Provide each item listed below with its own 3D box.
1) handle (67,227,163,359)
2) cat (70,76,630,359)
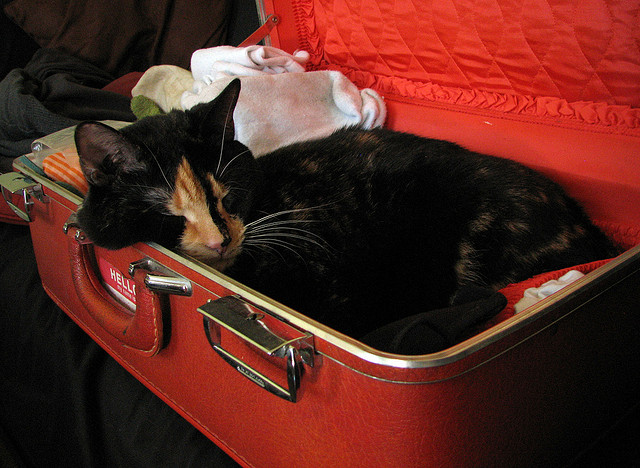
[{"bbox_3d":[-0.335,0.150,1.122,0.153,0.247,0.217,-15,27,-26],"label":"handle"},{"bbox_3d":[0.050,0.031,1.157,0.890,0.454,0.567,-1,10,10],"label":"cat"}]
